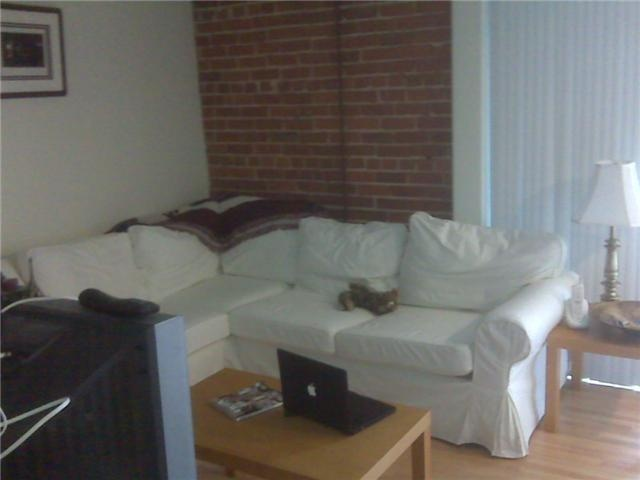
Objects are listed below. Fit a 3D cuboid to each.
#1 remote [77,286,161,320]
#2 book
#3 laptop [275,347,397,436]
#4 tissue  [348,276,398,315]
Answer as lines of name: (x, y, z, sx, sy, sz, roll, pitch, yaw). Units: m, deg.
remote: (-0.304, 0.087, 0.828, 0.111, 0.031, 0.049, 8, 5, 14)
book: (-0.178, 0.407, 1.496, 0.221, 0.045, 0.212, 6, 11, 25)
laptop: (0.040, 0.312, 1.384, 0.261, 0.181, 0.218, 12, 19, 41)
tissue : (0.184, 0.193, 1.935, 0.136, 0.059, 0.111, 9, 22, 27)
